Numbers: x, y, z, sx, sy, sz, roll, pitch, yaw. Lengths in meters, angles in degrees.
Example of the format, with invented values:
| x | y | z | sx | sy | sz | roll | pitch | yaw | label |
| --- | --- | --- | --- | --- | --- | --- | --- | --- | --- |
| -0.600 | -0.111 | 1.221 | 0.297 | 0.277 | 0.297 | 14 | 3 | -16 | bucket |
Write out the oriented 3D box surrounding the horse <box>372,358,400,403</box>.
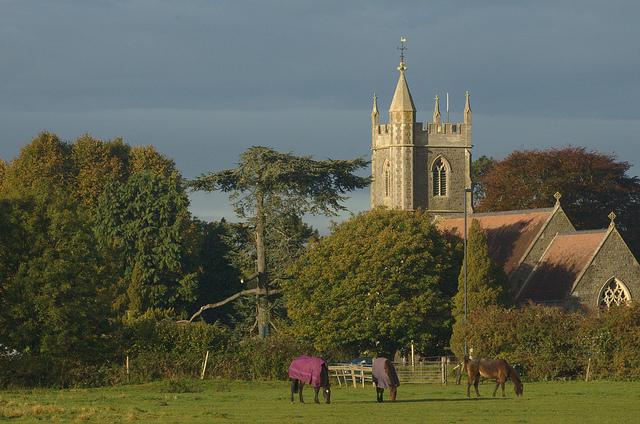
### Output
| x | y | z | sx | sy | sz | roll | pitch | yaw | label |
| --- | --- | --- | --- | --- | --- | --- | --- | --- | --- |
| 4.203 | 11.279 | 134.640 | 1.625 | 2.700 | 5.173 | -2 | 12 | -11 | horse |

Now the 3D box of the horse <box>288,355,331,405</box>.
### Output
| x | y | z | sx | sy | sz | roll | pitch | yaw | label |
| --- | --- | --- | --- | --- | --- | --- | --- | --- | --- |
| -0.870 | 11.254 | 133.108 | 2.603 | 3.431 | 2.006 | -1 | -10 | 6 | horse |
